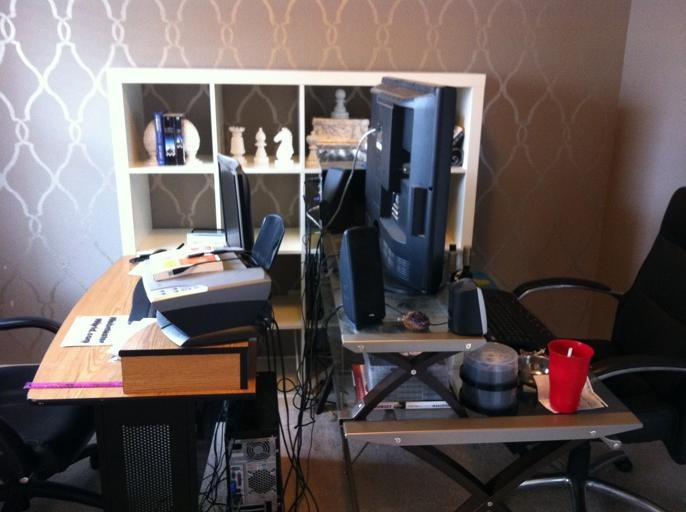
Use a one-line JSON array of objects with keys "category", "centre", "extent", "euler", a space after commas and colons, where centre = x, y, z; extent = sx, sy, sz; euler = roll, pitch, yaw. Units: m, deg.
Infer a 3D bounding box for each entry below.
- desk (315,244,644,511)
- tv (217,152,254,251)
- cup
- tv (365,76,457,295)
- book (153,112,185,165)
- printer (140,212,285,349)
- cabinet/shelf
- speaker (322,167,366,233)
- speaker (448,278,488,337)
[{"category": "desk", "centre": [0.457, 0.543, 2.136], "extent": [0.978, 0.761, 0.792], "euler": [-4, 19, -5]}, {"category": "tv", "centre": [-0.498, -0.239, 2.475], "extent": [0.146, 0.479, 0.398], "euler": [-8, 21, -19]}, {"category": "cup", "centre": [0.768, 0.395, 1.871], "extent": [0.134, 0.229, 0.174], "euler": [6, 20, 23]}, {"category": "tv", "centre": [0.265, -0.275, 2.200], "extent": [0.265, 0.773, 0.749], "euler": [-6, 24, -10]}, {"category": "book", "centre": [-0.926, -0.631, 2.908], "extent": [0.122, 0.224, 0.226], "euler": [0, 17, -4]}, {"category": "printer", "centre": [-0.466, 0.083, 2.182], "extent": [0.561, 0.438, 0.425], "euler": [-6, 22, -14]}, {"category": "cabinet/shelf", "centre": [-0.230, -0.312, 2.582], "extent": [1.394, 1.259, 0.337], "euler": [0, 13, -6]}, {"category": "speaker", "centre": [0.004, -0.293, 2.857], "extent": [0.229, 0.352, 0.209], "euler": [-2, 18, 2]}, {"category": "speaker", "centre": [0.416, 0.172, 1.853], "extent": [0.119, 0.176, 0.123], "euler": [-4, 18, -6]}]
